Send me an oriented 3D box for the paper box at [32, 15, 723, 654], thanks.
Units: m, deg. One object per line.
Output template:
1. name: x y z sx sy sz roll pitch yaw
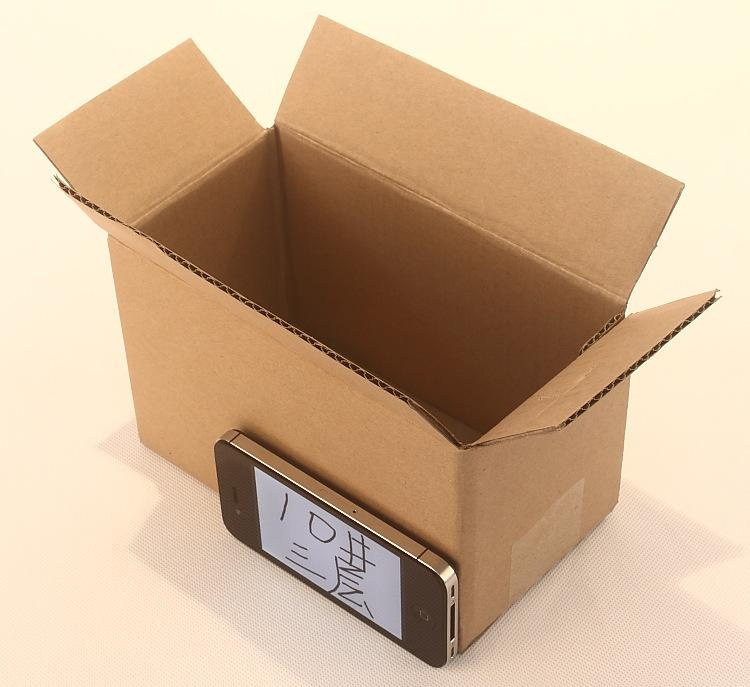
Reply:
1. paper box: 0.022 0.045 0.932 0.754 0.470 0.486 33 -28 20
